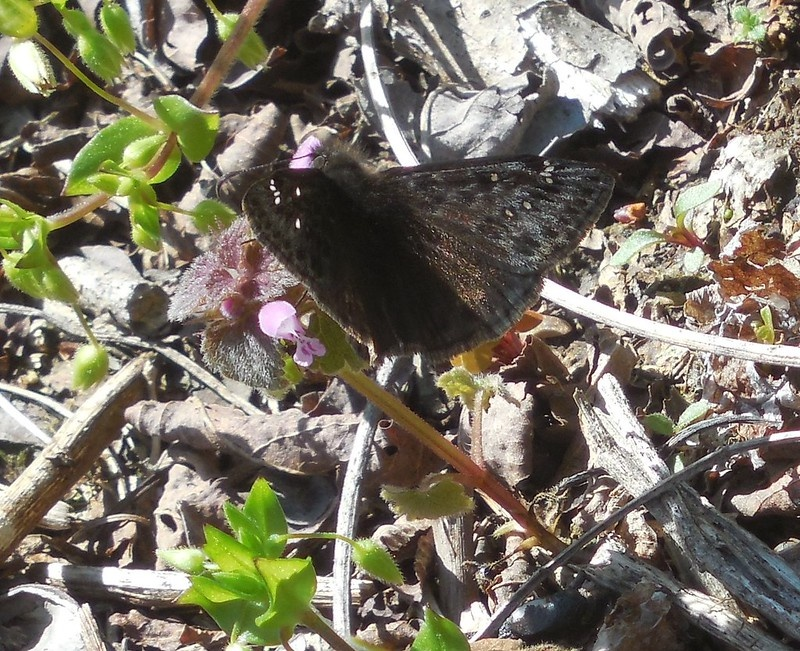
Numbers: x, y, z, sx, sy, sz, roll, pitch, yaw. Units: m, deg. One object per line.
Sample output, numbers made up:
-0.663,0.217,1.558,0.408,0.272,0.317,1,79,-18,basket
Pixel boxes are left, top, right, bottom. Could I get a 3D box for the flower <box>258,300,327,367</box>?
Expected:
-0.393,0.025,3.430,0.157,0.306,0.078,-40,-2,4,flower
